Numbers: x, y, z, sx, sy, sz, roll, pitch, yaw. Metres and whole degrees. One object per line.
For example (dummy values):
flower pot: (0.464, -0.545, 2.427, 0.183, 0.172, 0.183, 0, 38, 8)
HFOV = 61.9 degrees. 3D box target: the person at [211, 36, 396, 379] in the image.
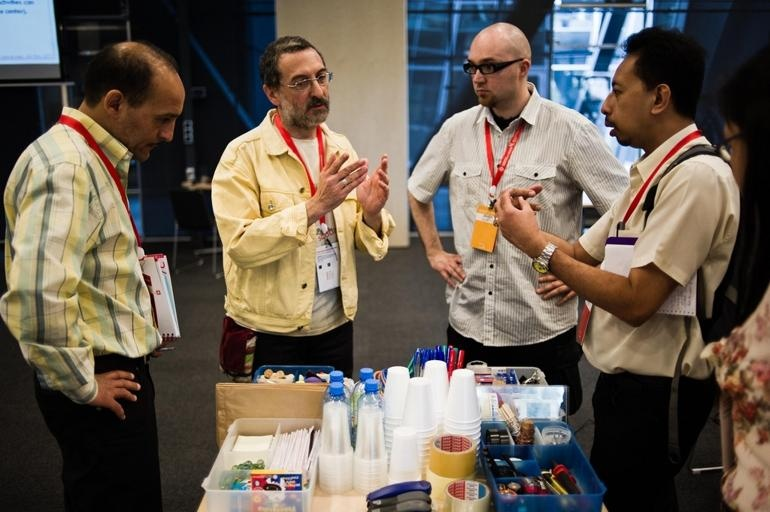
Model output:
person: (-0.438, -0.211, 3.140, 0.777, 1.726, 0.654, -2, 33, -8)

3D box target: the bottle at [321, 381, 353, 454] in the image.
bottle: (-0.181, 0.570, 2.381, 0.103, 0.262, 0.147, -1, 14, -5)

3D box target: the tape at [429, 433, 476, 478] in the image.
tape: (0.253, 0.753, 2.369, 0.189, 0.150, 0.195, -3, 9, -6)

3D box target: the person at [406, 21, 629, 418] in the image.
person: (0.646, -0.353, 3.329, 1.107, 1.053, 1.854, 5, 39, -1)

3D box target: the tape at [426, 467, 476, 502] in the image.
tape: (0.221, 0.801, 2.298, 0.111, 0.072, 0.115, 0, 9, 6)

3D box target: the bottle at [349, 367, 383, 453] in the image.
bottle: (-0.081, 0.582, 2.481, 0.133, 0.289, 0.136, 0, -12, 0)

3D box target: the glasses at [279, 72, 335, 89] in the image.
glasses: (-0.338, -0.820, 3.032, 0.132, 0.084, 0.299, 9, 16, 32)

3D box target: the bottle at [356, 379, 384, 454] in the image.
bottle: (-0.056, 0.634, 2.384, 0.122, 0.340, 0.125, 1, 6, 0)
